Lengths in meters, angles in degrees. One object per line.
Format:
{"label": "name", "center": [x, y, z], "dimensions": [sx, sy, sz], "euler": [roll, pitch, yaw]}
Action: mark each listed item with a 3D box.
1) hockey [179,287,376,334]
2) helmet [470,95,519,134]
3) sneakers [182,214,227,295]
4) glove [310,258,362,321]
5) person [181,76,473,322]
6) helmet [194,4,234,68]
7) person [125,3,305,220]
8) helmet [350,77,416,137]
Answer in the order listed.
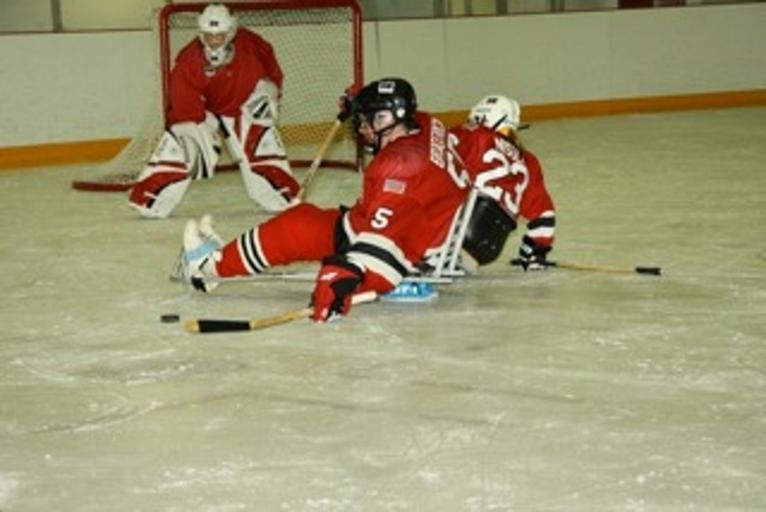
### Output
{"label": "hockey", "center": [-0.403, 0.242, 3.518], "dimensions": [1.062, 0.093, 0.056], "euler": [-12, -19, 39]}
{"label": "helmet", "center": [0.524, -0.680, 4.373], "dimensions": [0.260, 0.158, 0.171], "euler": [5, 5, -9]}
{"label": "sneakers", "center": [-0.805, -0.013, 4.049], "dimensions": [0.239, 0.310, 0.110], "euler": [-2, 4, -6]}
{"label": "glove", "center": [-0.174, 0.143, 3.672], "dimensions": [0.193, 0.244, 0.118], "euler": [22, -3, 33]}
{"label": "person", "center": [-0.218, -0.276, 3.949], "dimensions": [0.856, 0.956, 0.836], "euler": [10, 16, 41]}
{"label": "helmet", "center": [-0.979, -1.317, 5.498], "dimensions": [0.265, 0.372, 0.207], "euler": [-7, 14, -30]}
{"label": "person", "center": [-1.069, -0.862, 5.810], "dimensions": [1.503, 1.281, 1.060], "euler": [1, -32, -4]}
{"label": "helmet", "center": [-0.014, -0.646, 3.942], "dimensions": [0.346, 0.225, 0.232], "euler": [-13, 31, -9]}
